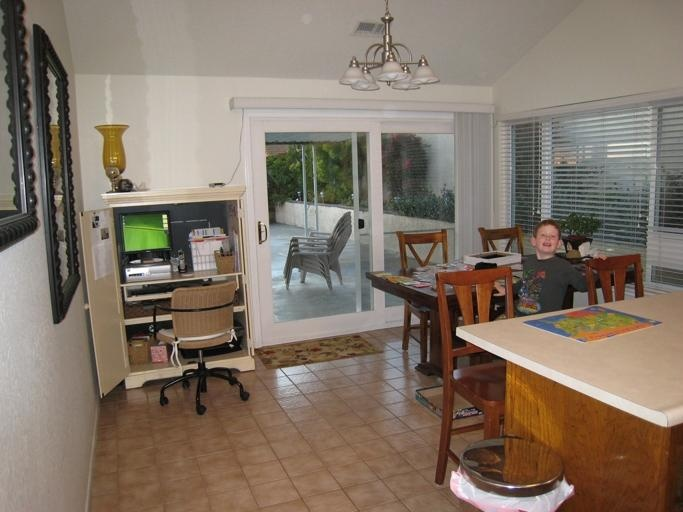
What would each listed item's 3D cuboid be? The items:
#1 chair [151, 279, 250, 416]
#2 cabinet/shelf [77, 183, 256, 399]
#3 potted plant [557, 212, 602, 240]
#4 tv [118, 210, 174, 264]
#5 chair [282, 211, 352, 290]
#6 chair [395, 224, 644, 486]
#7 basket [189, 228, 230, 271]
[{"bbox_3d":[-1.184,0.683,4.154,0.645,0.994,0.776,-12,16,-39],"label":"chair"},{"bbox_3d":[-1.482,0.323,4.302,1.712,1.891,1.058,-5,9,-25],"label":"cabinet/shelf"},{"bbox_3d":[2.070,-0.259,4.463,0.284,0.197,0.293,-4,15,-12],"label":"potted plant"},{"bbox_3d":[-1.758,-0.172,4.613,0.497,0.467,0.189,-3,3,-22],"label":"tv"},{"bbox_3d":[-0.202,-0.083,5.775,0.841,0.946,0.702,1,11,2],"label":"chair"},{"bbox_3d":[1.224,0.720,4.369,2.257,1.087,1.543,-5,10,-16],"label":"chair"},{"bbox_3d":[-1.165,-0.108,4.747,0.447,0.422,0.361,-2,18,-11],"label":"basket"}]
